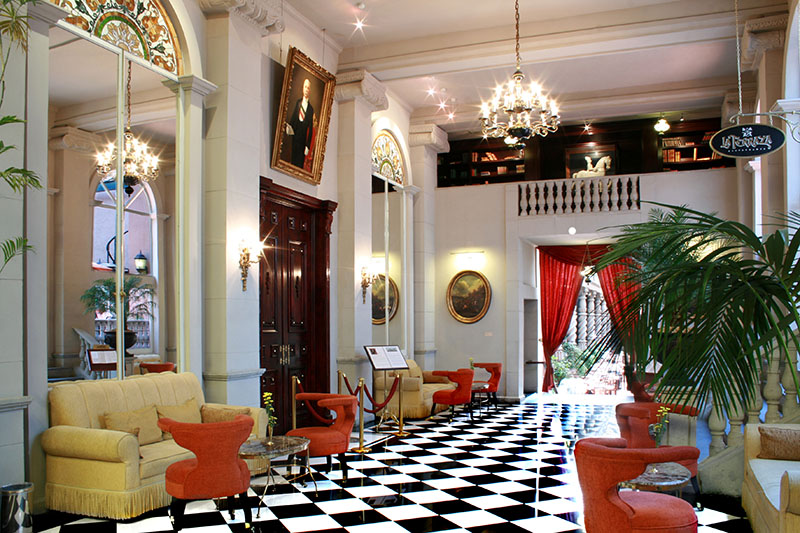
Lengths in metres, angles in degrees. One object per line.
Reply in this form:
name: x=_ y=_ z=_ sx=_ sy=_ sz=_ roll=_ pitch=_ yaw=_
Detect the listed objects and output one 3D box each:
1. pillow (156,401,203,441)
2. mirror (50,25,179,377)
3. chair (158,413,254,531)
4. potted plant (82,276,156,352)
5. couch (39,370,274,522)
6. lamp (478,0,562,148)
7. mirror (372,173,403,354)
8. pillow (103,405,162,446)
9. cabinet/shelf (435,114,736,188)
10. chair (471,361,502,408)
pillow: x=-2.548 y=1.761 z=6.687 sx=0.155 sy=0.308 sz=0.496 roll=-15 pitch=-12 yaw=27
mirror: x=-3.467 y=-0.786 z=7.180 sx=0.303 sy=3.883 sz=1.677 roll=0 pitch=-3 yaw=23
chair: x=-1.913 y=2.158 z=6.446 sx=1.073 sy=1.305 sz=1.158 roll=0 pitch=-2 yaw=-18
potted plant: x=-3.589 y=0.596 z=7.387 sx=0.793 sy=0.843 sz=0.821 roll=0 pitch=-2 yaw=-37
couch: x=-2.878 y=2.036 z=7.153 sx=1.323 sy=1.401 sz=2.316 roll=-5 pitch=-7 yaw=21
lamp: x=2.265 y=-3.092 z=11.048 sx=1.394 sy=2.486 sz=4.497 roll=0 pitch=-3 yaw=13
mirror: x=-0.225 y=-0.036 z=13.060 sx=0.405 sy=3.733 sz=1.505 roll=-1 pitch=-3 yaw=24
pillow: x=-3.072 y=1.808 z=6.655 sx=0.150 sy=0.329 sz=0.472 roll=-19 pitch=-18 yaw=34
cabinet/shelf: x=4.518 y=-2.888 z=14.798 sx=6.545 sy=1.475 sz=0.568 roll=0 pitch=-3 yaw=14
chair: x=1.983 y=2.674 z=13.267 sx=0.651 sy=1.014 sz=2.180 roll=0 pitch=-3 yaw=9
